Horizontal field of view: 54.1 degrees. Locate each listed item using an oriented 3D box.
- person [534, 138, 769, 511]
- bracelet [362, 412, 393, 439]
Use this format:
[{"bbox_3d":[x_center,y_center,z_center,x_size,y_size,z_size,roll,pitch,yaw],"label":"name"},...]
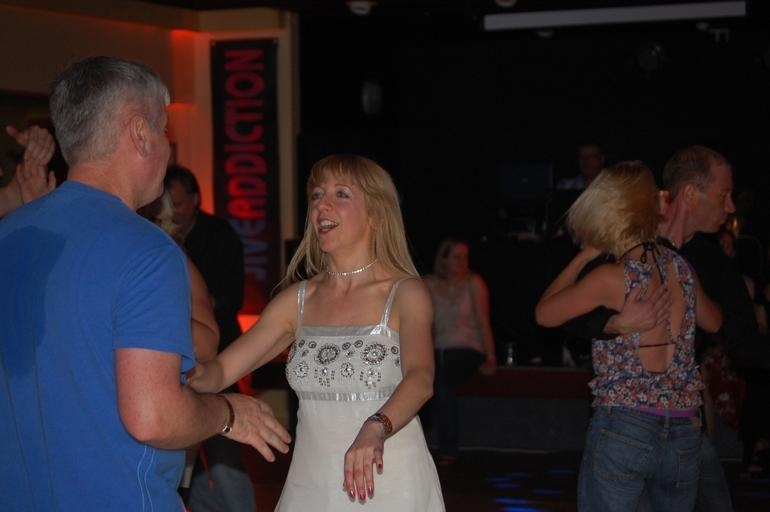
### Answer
[{"bbox_3d":[1.410,0.410,4.017,1.176,2.058,0.612,0,4,-29],"label":"person"},{"bbox_3d":[-0.038,0.693,3.145,0.074,0.102,0.102,-15,5,-34],"label":"bracelet"}]
